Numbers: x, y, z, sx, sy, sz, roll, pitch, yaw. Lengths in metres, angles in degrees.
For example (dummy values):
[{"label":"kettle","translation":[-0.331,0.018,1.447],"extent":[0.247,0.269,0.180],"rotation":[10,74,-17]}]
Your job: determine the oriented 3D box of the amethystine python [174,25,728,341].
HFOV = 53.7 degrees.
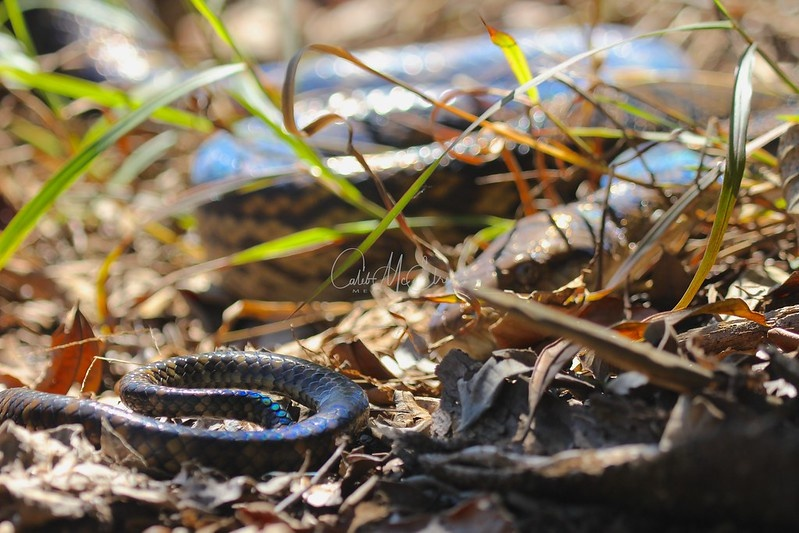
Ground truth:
[{"label":"amethystine python","translation":[0.154,-0.150,2.668],"extent":[1.487,0.362,1.055],"rotation":[-12,16,10]}]
